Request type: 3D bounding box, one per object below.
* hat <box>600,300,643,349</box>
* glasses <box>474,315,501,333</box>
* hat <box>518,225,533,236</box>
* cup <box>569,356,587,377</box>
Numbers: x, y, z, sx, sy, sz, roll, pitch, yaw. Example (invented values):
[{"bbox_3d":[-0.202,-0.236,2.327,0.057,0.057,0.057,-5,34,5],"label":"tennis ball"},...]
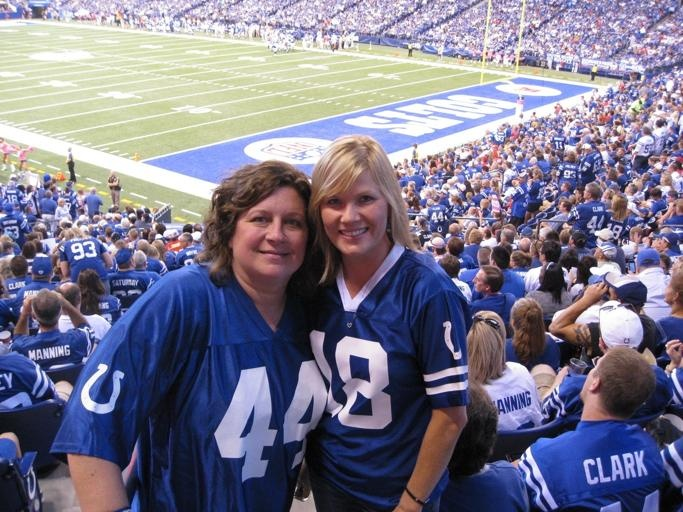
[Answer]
[{"bbox_3d":[2.240,0.558,6.034,0.333,0.355,0.289,0,0,21],"label":"hat"},{"bbox_3d":[1.075,0.490,5.579,0.193,0.122,0.218,0,-1,10],"label":"glasses"},{"bbox_3d":[3.424,-0.469,14.025,0.225,0.110,0.362,-10,21,25],"label":"hat"},{"bbox_3d":[1.896,0.889,6.061,0.128,0.125,0.166,11,29,23],"label":"cup"}]
